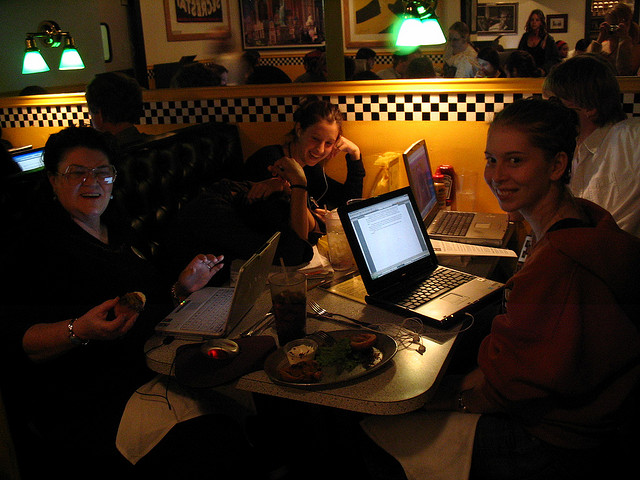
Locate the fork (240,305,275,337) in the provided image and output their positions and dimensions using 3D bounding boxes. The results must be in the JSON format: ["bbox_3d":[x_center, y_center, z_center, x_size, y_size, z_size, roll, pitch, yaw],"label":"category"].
[{"bbox_3d":[-0.229,0.296,1.793,0.030,0.030,0.216,17,27,9],"label":"fork"}]

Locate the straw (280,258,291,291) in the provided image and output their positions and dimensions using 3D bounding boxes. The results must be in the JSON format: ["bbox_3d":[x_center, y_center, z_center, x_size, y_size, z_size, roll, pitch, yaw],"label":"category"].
[{"bbox_3d":[-0.128,0.128,1.848,0.011,0.118,0.008,-35,8,-32],"label":"straw"}]

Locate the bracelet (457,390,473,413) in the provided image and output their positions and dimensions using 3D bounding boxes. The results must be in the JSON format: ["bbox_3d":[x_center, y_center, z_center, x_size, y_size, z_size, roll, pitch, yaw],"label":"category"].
[{"bbox_3d":[0.470,0.523,1.608,0.020,0.064,0.048,10,-7,-33],"label":"bracelet"}]

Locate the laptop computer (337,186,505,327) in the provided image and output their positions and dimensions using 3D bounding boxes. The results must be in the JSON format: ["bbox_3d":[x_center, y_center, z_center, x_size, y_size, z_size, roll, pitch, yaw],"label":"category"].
[{"bbox_3d":[0.358,0.077,1.984,0.565,0.399,0.544,18,32,40],"label":"laptop computer"}]

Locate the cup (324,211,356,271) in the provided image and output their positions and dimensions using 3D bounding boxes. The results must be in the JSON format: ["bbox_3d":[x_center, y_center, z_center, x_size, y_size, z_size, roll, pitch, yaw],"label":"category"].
[{"bbox_3d":[0.109,-0.009,2.207,0.162,0.271,0.163,-2,18,1],"label":"cup"}]

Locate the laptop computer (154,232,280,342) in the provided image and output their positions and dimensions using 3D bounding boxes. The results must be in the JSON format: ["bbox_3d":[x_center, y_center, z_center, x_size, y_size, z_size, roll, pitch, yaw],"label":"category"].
[{"bbox_3d":[-0.375,0.151,1.836,0.360,0.260,0.401,2,17,12],"label":"laptop computer"}]

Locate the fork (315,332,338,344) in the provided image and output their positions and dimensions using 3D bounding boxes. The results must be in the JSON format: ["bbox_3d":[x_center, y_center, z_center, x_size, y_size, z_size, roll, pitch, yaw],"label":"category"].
[{"bbox_3d":[0.020,0.323,1.655,0.017,0.012,0.112,-46,32,-18],"label":"fork"}]

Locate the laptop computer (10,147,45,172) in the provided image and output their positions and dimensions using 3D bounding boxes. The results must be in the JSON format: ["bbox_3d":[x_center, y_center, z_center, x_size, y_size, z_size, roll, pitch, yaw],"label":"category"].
[{"bbox_3d":[-1.970,-0.554,3.351,0.177,0.091,0.580,-13,20,-26],"label":"laptop computer"}]

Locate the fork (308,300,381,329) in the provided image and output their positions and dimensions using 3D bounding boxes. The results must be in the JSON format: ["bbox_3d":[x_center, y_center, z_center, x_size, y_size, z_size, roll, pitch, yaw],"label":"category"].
[{"bbox_3d":[0.092,0.275,1.823,0.212,0.026,0.031,17,7,14],"label":"fork"}]

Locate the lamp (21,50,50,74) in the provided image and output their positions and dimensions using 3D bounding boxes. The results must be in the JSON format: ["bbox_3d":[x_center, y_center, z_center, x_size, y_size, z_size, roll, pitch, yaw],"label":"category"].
[{"bbox_3d":[-2.969,-1.839,5.174,0.237,0.246,0.241,0,18,12],"label":"lamp"}]

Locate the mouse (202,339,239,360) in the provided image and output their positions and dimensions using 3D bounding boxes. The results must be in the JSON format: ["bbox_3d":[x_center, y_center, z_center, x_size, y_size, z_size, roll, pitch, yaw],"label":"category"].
[{"bbox_3d":[-0.329,0.358,1.633,0.087,0.029,0.062,3,23,3],"label":"mouse"}]

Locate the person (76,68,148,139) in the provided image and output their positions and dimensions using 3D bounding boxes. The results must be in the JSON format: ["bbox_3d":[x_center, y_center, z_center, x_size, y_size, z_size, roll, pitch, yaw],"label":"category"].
[{"bbox_3d":[-1.504,-0.996,3.679,0.475,0.446,1.359,-12,20,-22],"label":"person"}]

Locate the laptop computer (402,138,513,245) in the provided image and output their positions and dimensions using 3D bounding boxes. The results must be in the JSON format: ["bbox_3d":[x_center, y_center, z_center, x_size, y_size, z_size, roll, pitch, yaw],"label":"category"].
[{"bbox_3d":[0.763,-0.269,2.647,0.592,0.441,0.686,11,19,31],"label":"laptop computer"}]
